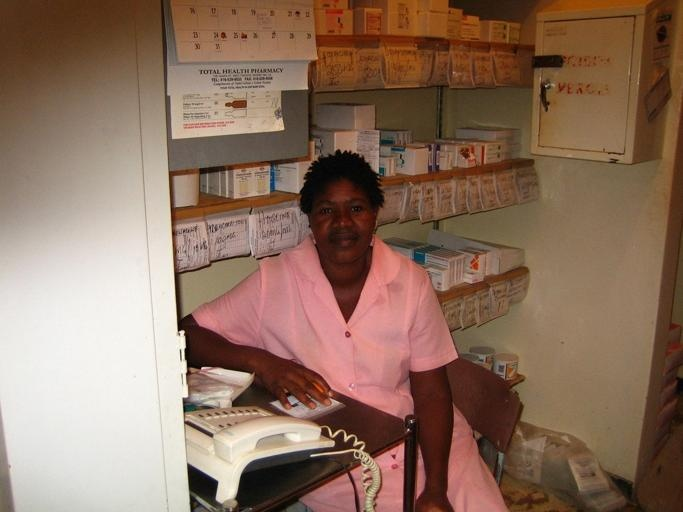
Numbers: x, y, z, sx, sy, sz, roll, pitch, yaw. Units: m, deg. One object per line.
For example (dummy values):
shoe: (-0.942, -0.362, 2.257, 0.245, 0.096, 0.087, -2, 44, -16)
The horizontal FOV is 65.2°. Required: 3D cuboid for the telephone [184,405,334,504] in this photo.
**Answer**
telephone: (-0.211, 0.415, 1.254, 0.326, 0.136, 0.245, -11, 10, -41)
